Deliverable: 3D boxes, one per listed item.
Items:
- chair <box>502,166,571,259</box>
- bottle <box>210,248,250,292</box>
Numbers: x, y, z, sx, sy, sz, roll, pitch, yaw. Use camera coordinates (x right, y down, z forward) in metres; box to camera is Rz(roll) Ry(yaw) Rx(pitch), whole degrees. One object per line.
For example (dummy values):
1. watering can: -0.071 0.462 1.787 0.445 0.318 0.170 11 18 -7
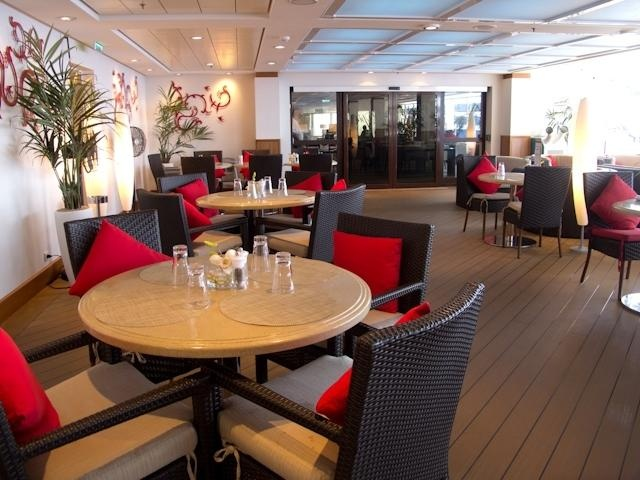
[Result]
1. chair: 2.695 -0.404 5.534 0.694 1.089 0.998 3 14 22
2. bottle: -0.425 0.120 1.985 0.210 0.198 0.146 12 16 31
